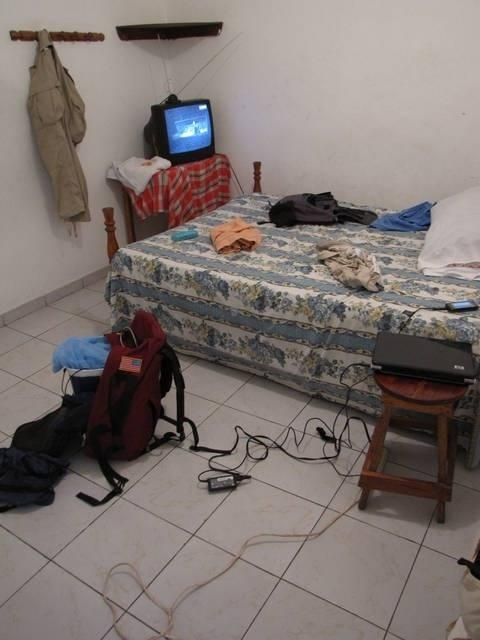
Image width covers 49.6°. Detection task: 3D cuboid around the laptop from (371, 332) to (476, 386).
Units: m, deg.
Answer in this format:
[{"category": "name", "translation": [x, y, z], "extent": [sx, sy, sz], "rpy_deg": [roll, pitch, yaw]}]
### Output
[{"category": "laptop", "translation": [0.651, 0.113, 1.846], "extent": [0.324, 0.081, 0.342], "rpy_deg": [4, 25, 19]}]

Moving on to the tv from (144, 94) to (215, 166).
[{"category": "tv", "translation": [-0.459, -1.406, 3.889], "extent": [0.350, 0.442, 0.488], "rpy_deg": [31, 46, 29]}]

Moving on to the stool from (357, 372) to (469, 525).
[{"category": "stool", "translation": [0.649, 0.392, 1.970], "extent": [0.333, 0.581, 0.498], "rpy_deg": [6, 26, 22]}]

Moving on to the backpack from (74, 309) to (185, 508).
[{"category": "backpack", "translation": [-0.450, 0.394, 2.139], "extent": [0.330, 0.532, 0.536], "rpy_deg": [9, 32, 8]}]
